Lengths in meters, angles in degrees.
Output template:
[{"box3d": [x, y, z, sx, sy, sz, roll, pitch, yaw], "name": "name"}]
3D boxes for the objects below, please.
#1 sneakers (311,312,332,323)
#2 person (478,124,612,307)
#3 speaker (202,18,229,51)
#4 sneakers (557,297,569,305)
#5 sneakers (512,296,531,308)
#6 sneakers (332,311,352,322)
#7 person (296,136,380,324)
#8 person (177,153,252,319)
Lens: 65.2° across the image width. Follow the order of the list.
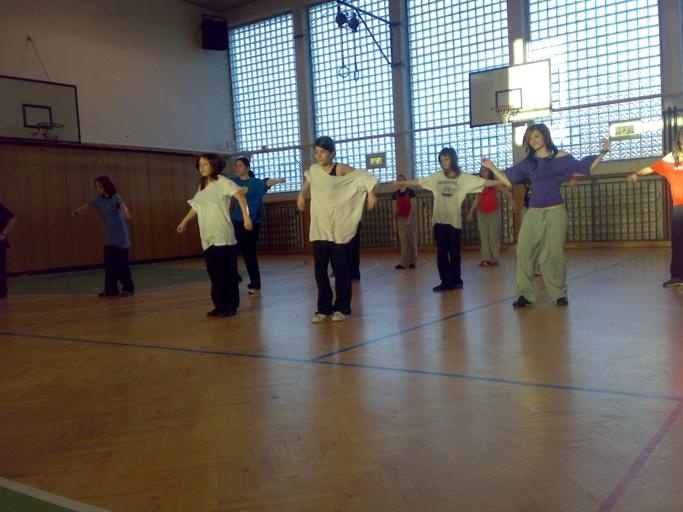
[{"box3d": [-0.198, 0.590, 5.059, 0.067, 0.079, 0.170, 0, -4, 39], "name": "sneakers"}, {"box3d": [2.005, -0.421, 5.321, 0.867, 1.766, 0.558, 0, 8, 17], "name": "person"}, {"box3d": [-3.908, -6.787, 16.339, 0.873, 0.986, 0.310, -4, 5, -35], "name": "speaker"}, {"box3d": [2.167, 0.436, 5.242, 0.050, 0.062, 0.147, -2, -6, 11], "name": "sneakers"}, {"box3d": [1.764, 0.455, 5.231, 0.148, 0.109, 0.103, -5, 8, 11], "name": "sneakers"}, {"box3d": [-0.018, 0.572, 5.059, 0.065, 0.071, 0.188, -5, -10, 25], "name": "sneakers"}, {"box3d": [-0.034, -0.275, 5.214, 0.718, 1.761, 0.656, -3, 8, -7], "name": "person"}, {"box3d": [-1.265, -0.223, 5.601, 0.637, 1.708, 0.470, -3, 8, -3], "name": "person"}]
